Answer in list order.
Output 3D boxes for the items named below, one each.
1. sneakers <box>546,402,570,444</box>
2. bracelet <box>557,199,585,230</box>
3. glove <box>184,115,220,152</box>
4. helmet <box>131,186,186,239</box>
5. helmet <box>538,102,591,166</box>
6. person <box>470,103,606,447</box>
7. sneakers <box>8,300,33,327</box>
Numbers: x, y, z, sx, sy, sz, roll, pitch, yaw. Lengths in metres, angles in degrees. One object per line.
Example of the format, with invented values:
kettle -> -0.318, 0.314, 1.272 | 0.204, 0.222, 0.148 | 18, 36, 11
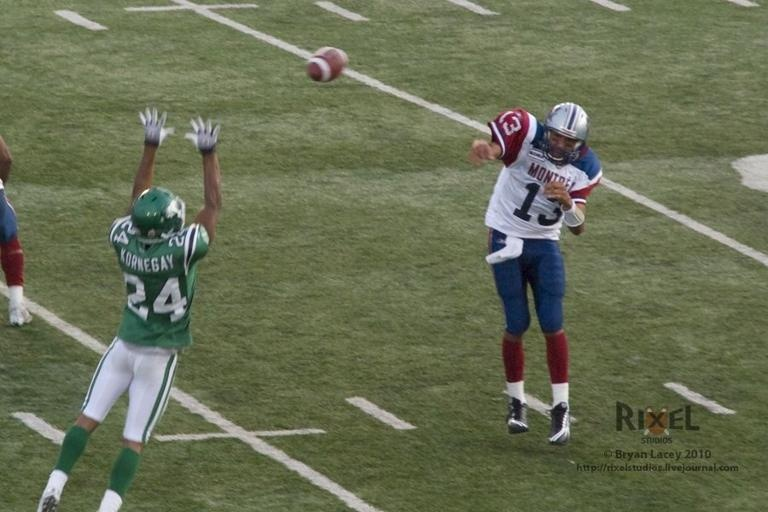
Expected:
sneakers -> 1.407, 1.365, 12.593 | 0.162, 0.153, 0.401 | -1, 19, 10
bracelet -> 1.495, -0.353, 12.573 | 0.223, 0.236, 0.126 | -8, 53, 9
glove -> -1.374, -0.933, 11.817 | 0.273, 0.267, 0.272 | -3, -14, -29
helmet -> -1.741, -0.333, 11.680 | 0.412, 0.304, 0.474 | 13, 19, 21
helmet -> 1.434, -1.034, 12.653 | 0.445, 0.386, 0.473 | 8, 20, -21
person -> 1.150, 0.036, 12.663 | 1.004, 2.560, 1.306 | 3, 28, -7
sneakers -> -3.182, 0.478, 13.426 | 0.190, 0.178, 0.236 | 0, 25, -11
